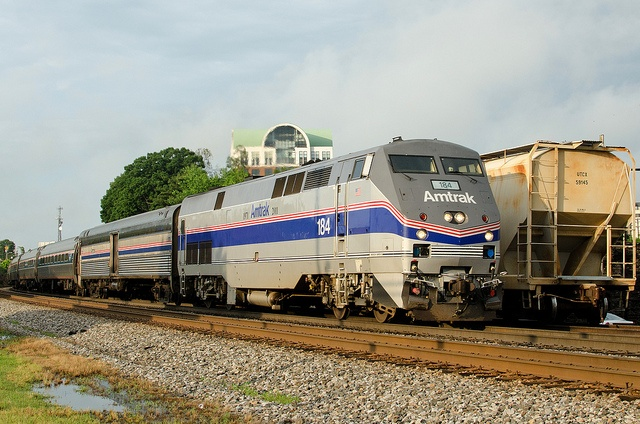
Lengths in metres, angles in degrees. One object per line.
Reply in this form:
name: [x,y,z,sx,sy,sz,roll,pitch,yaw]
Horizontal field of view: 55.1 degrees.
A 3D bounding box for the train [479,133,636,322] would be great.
train: [7.771,0.659,19.775,4.162,5.993,1.782,-4,3,0]
